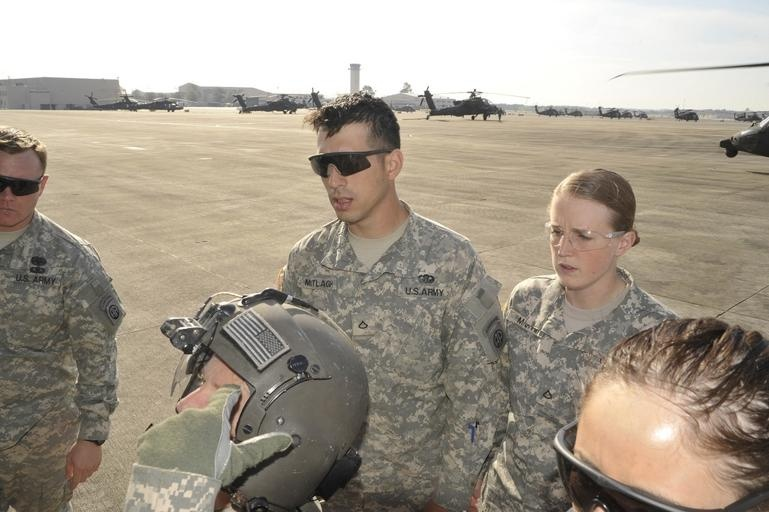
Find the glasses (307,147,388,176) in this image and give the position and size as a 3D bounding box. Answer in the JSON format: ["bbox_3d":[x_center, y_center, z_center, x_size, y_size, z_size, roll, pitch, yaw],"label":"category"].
[{"bbox_3d":[-0.181,-0.507,2.971,0.441,0.154,0.142,-1,15,-2],"label":"glasses"}]
